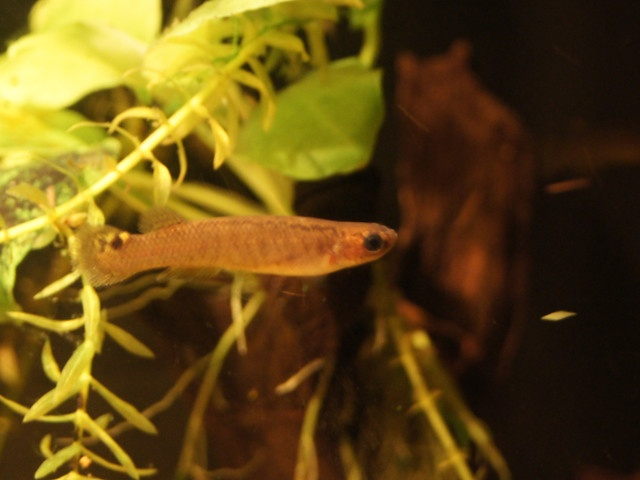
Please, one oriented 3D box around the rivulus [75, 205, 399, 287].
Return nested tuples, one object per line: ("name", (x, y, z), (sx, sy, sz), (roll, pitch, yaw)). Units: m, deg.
("rivulus", (-0.211, 0.017, 1.754), (0.589, 0.161, 0.152), (0, 16, -1))
